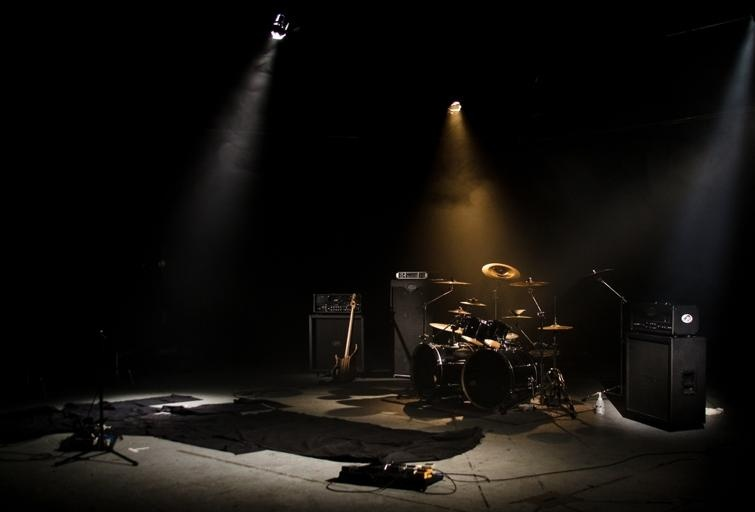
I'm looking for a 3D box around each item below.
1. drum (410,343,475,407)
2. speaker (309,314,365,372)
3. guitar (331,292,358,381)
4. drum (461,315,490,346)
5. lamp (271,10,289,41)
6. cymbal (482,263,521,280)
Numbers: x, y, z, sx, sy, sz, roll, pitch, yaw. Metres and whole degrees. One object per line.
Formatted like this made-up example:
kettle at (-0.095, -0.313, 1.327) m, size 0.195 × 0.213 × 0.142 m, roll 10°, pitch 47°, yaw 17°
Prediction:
drum at (1.056, 1.831, 9.385) m, size 0.878 × 1.063 × 1.009 m, roll 4°, pitch -5°, yaw -35°
speaker at (-0.805, 1.641, 11.679) m, size 1.462 × 1.347 × 1.054 m, roll -1°, pitch -5°, yaw 10°
guitar at (-0.633, 1.498, 10.899) m, size 0.522 × 1.522 × 0.810 m, roll -1°, pitch 4°, yaw -2°
drum at (1.424, 1.156, 8.709) m, size 0.428 × 0.383 × 0.418 m, roll 16°, pitch -17°, yaw -10°
lamp at (-1.626, -3.865, 9.644) m, size 0.230 × 0.111 × 0.317 m, roll 8°, pitch -44°, yaw 9°
cymbal at (2.042, 0.254, 9.474) m, size 0.532 × 0.291 × 0.704 m, roll 0°, pitch 3°, yaw 13°
